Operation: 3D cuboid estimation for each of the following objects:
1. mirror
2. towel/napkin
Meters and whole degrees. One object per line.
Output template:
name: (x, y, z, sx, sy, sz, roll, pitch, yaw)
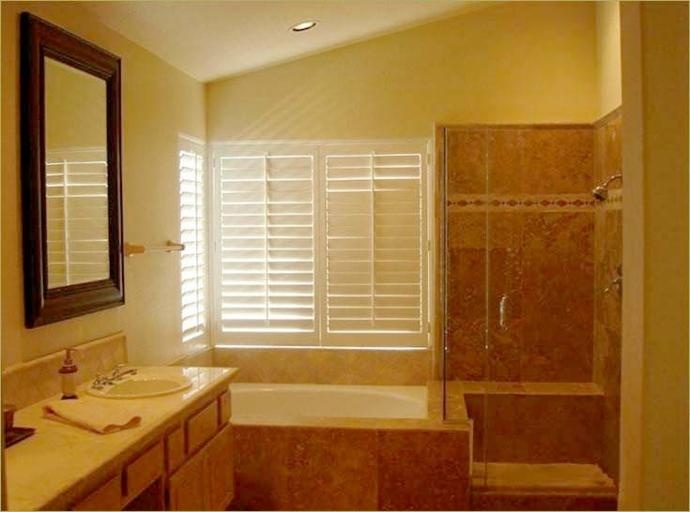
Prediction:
mirror: (-1.302, -0.392, 3.002, 0.120, 1.259, 0.579, -2, 2, 20)
towel/napkin: (-1.051, 0.668, 2.664, 0.448, 0.115, 0.243, -2, 2, 26)
